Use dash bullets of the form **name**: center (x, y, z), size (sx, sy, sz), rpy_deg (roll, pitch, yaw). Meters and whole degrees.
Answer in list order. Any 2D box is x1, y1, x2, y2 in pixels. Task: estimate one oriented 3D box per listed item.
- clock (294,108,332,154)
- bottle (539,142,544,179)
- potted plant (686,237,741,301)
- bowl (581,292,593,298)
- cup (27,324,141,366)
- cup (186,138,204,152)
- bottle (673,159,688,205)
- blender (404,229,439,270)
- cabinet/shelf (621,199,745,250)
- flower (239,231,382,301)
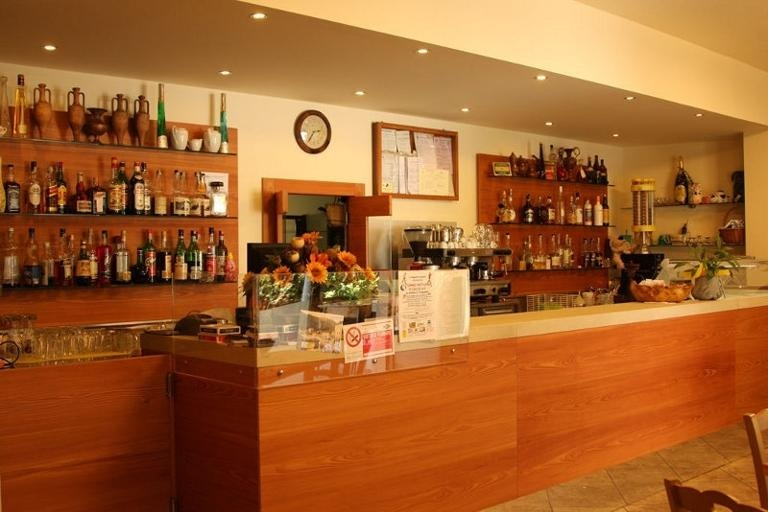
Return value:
- **clock**: center (-0.709, -1.263, 5.699), size (0.049, 0.408, 0.508), rpy_deg (8, 12, 41)
- **bottle**: center (2.070, -1.257, 7.381), size (0.076, 0.479, 0.256), rpy_deg (0, 4, 15)
- **potted plant**: center (2.736, 0.103, 4.698), size (0.369, 0.522, 0.260), rpy_deg (-1, 4, -2)
- **bowl**: center (1.981, 0.376, 5.431), size (0.071, 0.042, 0.065), rpy_deg (1, 5, 4)
- **cup**: center (-1.760, 0.498, 3.324), size (0.266, 0.103, 0.397), rpy_deg (1, 3, 43)
- **cup**: center (-1.706, -1.001, 5.046), size (0.142, 0.094, 0.132), rpy_deg (-2, 9, 0)
- **bottle**: center (4.114, -1.030, 7.764), size (0.176, 0.613, 0.289), rpy_deg (1, 4, 25)
- **blender**: center (0.378, -0.119, 5.968), size (0.436, 0.525, 0.388), rpy_deg (-2, 0, 3)
- **cabinet/shelf**: center (4.235, -0.426, 7.629), size (1.190, 0.697, 0.560), rpy_deg (2, 5, 32)
- **flower**: center (-0.417, 0.073, 2.910), size (0.497, 0.202, 0.461), rpy_deg (-8, 14, -29)
